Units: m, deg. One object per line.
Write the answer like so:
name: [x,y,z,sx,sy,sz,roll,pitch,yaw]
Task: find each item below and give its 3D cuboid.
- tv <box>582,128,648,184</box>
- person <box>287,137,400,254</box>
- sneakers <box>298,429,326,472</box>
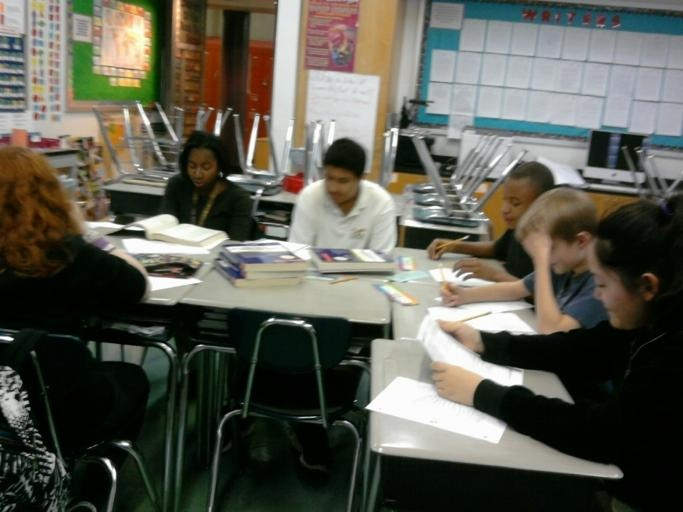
tv: [2.685,-0.976,5.449,0.605,0.499,0.211,7,-2,-3]
person: [-0.030,-0.198,2.909,0.631,0.783,0.538,-3,18,-14]
sneakers: [-0.140,0.817,2.318,0.140,0.049,0.206,17,38,-24]
